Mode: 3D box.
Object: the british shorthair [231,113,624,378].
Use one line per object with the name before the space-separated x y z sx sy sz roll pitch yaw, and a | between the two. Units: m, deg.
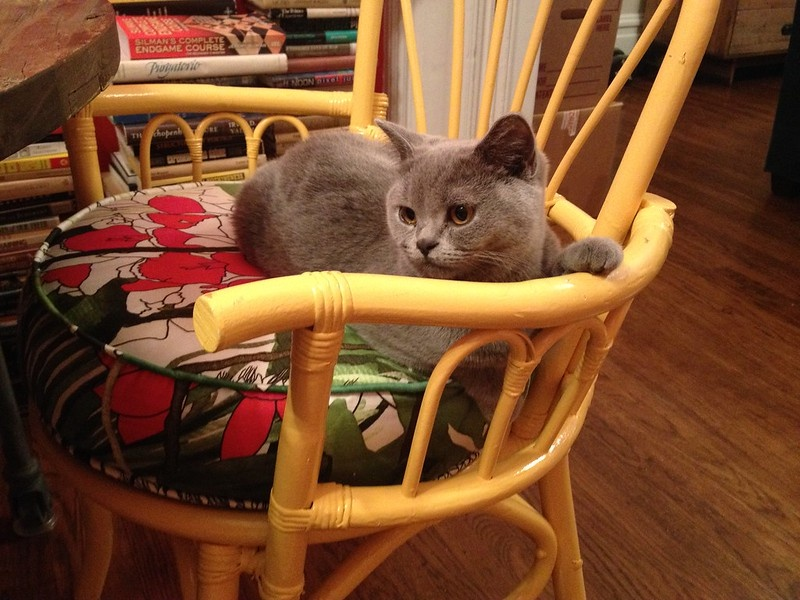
british shorthair | 0.042 -0.081 0.913 0.332 0.328 0.541 -29 48 -36
